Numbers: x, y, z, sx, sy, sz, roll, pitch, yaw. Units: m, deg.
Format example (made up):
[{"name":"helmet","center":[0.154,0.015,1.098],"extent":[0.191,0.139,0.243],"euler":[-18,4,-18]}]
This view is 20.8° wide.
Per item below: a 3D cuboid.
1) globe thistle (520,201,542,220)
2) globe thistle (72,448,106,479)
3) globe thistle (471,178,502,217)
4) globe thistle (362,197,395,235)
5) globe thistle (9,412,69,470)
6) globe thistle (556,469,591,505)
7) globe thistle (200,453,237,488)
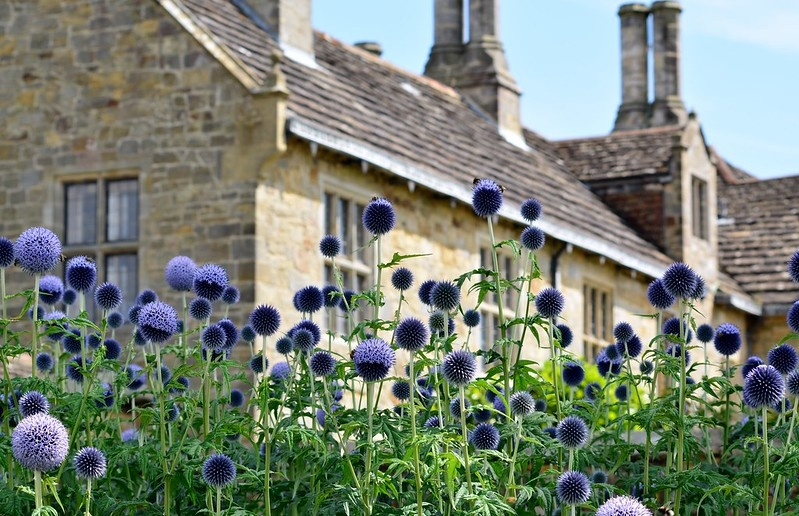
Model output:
[{"name":"globe thistle","center":[1.380,-0.444,23.068],"extent":[0.198,0.223,0.209],"euler":[1,-51,0]},{"name":"globe thistle","center":[-3.069,2.044,21.634],"extent":[0.302,0.358,0.306],"euler":[3,-14,-9]},{"name":"globe thistle","center":[0.907,-0.609,22.723],"extent":[0.315,0.383,0.371],"euler":[-1,0,4]},{"name":"globe thistle","center":[-0.219,-0.398,22.658],"extent":[0.307,0.347,0.380],"euler":[1,-3,9]},{"name":"globe thistle","center":[-3.544,1.827,21.296],"extent":[0.503,0.522,0.511],"euler":[14,-14,-8]},{"name":"globe thistle","center":[1.721,2.272,21.788],"extent":[0.321,0.319,0.343],"euler":[13,26,34]},{"name":"globe thistle","center":[-1.832,2.151,21.825],"extent":[0.279,0.302,0.308],"euler":[-1,6,-40]}]
